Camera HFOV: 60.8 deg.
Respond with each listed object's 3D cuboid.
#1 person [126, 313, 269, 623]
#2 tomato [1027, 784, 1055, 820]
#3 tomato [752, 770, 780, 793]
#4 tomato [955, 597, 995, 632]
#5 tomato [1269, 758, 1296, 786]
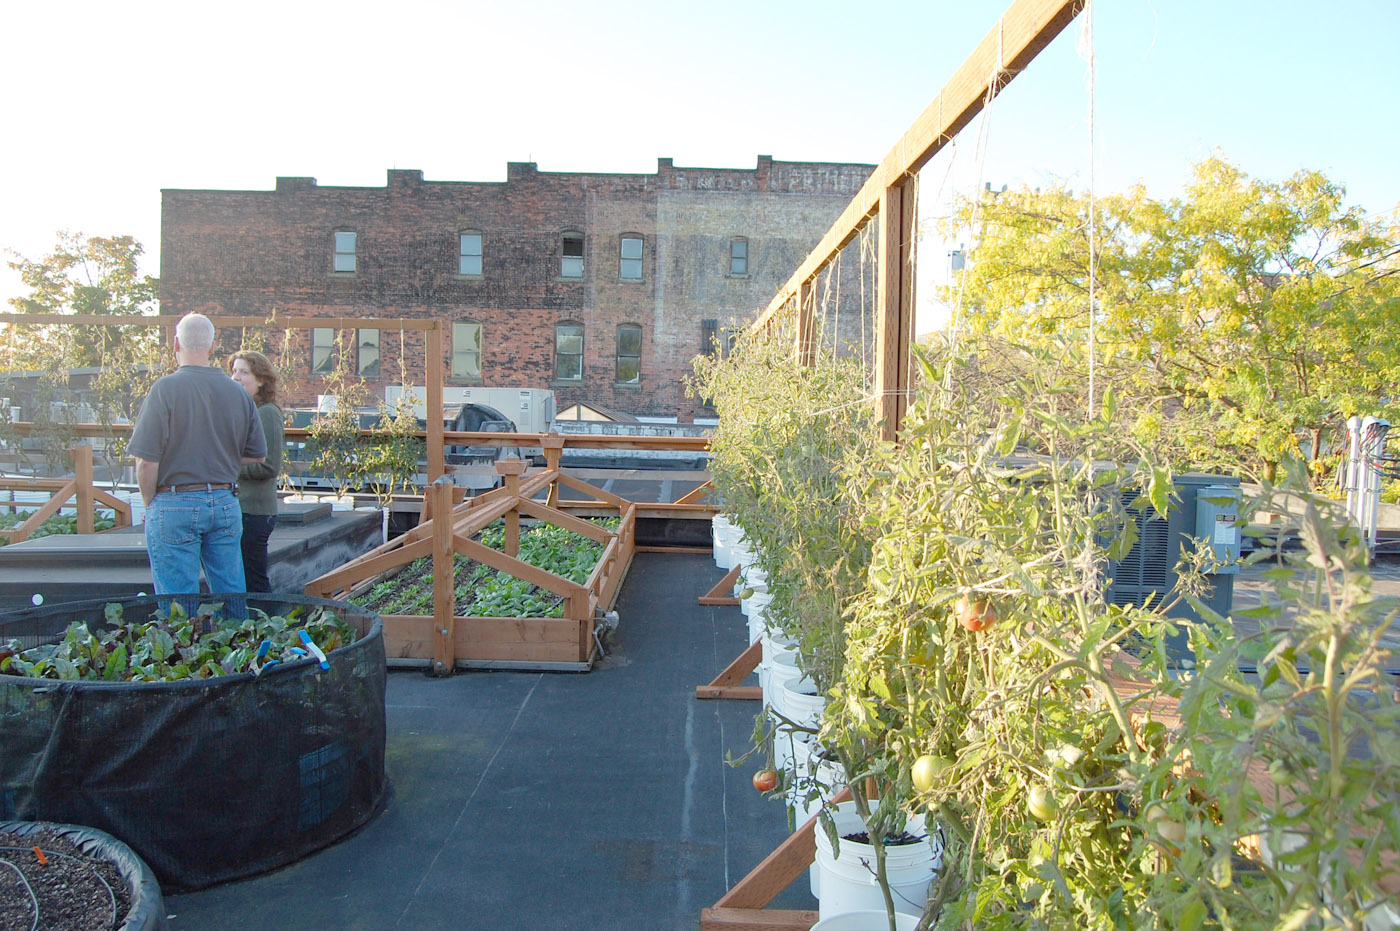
[{"bbox_3d":[-3.070,0.096,7.332,0.293,1.378,0.762,4,4,32],"label":"person"},{"bbox_3d":[1.334,1.318,4.691,0.085,0.149,0.093,2,4,8],"label":"tomato"},{"bbox_3d":[0.320,1.487,5.649,0.114,0.119,0.138,1,4,2],"label":"tomato"},{"bbox_3d":[1.099,0.591,4.845,0.128,0.157,0.134,-19,-8,-5],"label":"tomato"},{"bbox_3d":[2.166,1.130,4.410,0.108,0.122,0.063,-1,4,-28],"label":"tomato"}]
